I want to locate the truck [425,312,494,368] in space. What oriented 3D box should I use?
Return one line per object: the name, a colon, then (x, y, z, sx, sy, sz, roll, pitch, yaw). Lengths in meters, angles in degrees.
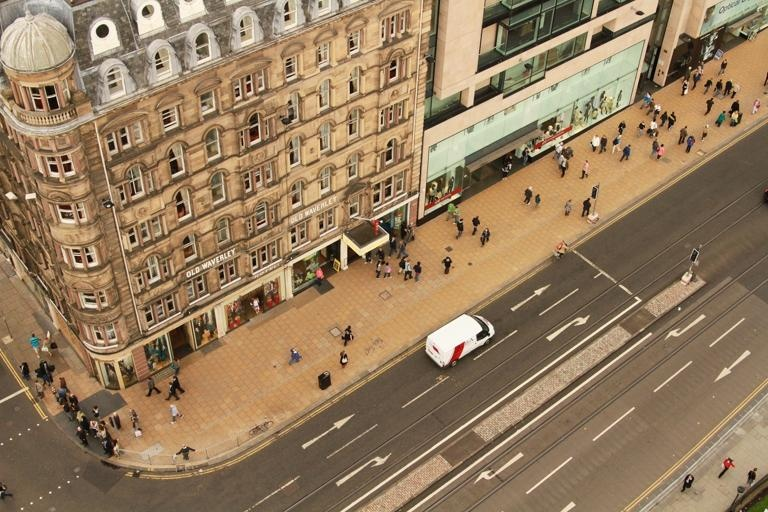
truck: (7.979, 9.093, 126.671, 6.467, 4.115, 2.803, -21, 40, -27)
